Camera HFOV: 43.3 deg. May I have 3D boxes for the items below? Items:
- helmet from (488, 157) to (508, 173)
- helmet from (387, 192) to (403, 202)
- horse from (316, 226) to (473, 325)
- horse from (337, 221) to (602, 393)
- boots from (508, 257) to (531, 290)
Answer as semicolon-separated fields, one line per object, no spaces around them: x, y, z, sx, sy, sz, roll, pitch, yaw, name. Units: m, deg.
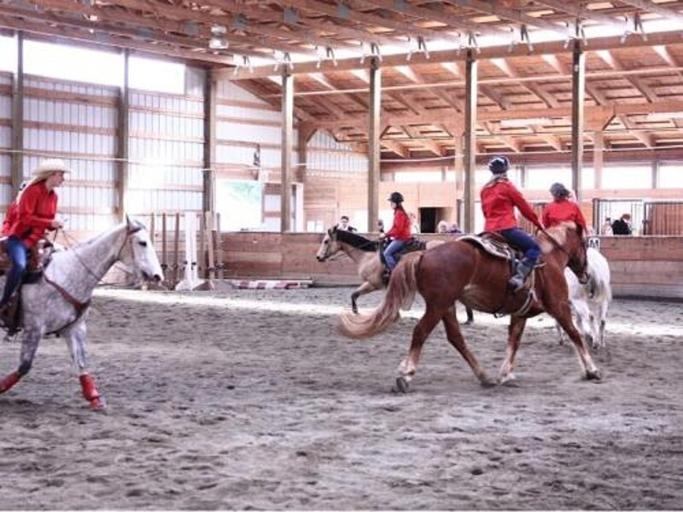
1.754;-1.029;9.669;0.183;0.193;0.194;3;10;10;helmet
0.860;-0.924;13.721;0.194;0.175;0.385;0;8;0;helmet
0.940;0.363;14.453;2.776;1.650;0.641;1;3;16;horse
1.523;0.524;9.643;3.476;1.903;0.737;2;-9;-30;horse
1.947;0.184;9.393;0.151;0.414;0.303;29;58;30;boots
